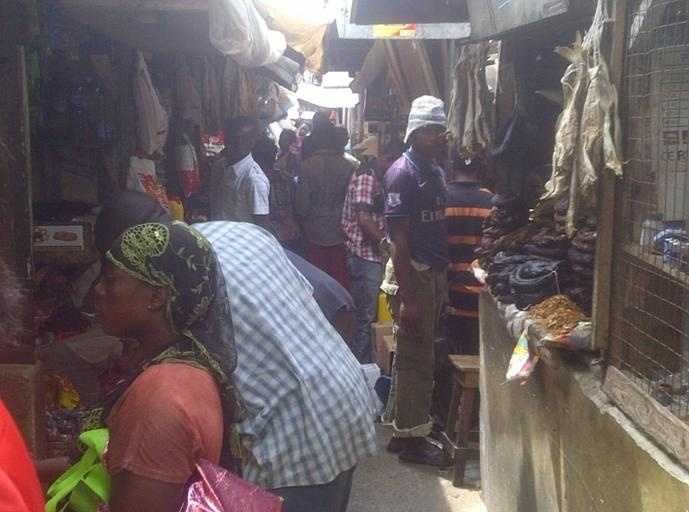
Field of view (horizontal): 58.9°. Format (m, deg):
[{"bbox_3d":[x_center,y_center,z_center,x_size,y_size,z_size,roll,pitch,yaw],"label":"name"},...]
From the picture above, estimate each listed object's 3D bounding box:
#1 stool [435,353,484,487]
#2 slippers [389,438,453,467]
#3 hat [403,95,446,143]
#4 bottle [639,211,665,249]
[{"bbox_3d":[0.864,1.229,4.557,0.248,0.968,0.401,1,11,11],"label":"stool"},{"bbox_3d":[0.607,1.569,4.865,0.277,0.114,0.241,16,1,-12],"label":"slippers"},{"bbox_3d":[0.609,-1.074,4.777,0.280,0.361,0.322,-1,3,-12],"label":"hat"},{"bbox_3d":[1.052,-0.093,2.095,0.070,0.124,0.076,-1,11,0],"label":"bottle"}]
